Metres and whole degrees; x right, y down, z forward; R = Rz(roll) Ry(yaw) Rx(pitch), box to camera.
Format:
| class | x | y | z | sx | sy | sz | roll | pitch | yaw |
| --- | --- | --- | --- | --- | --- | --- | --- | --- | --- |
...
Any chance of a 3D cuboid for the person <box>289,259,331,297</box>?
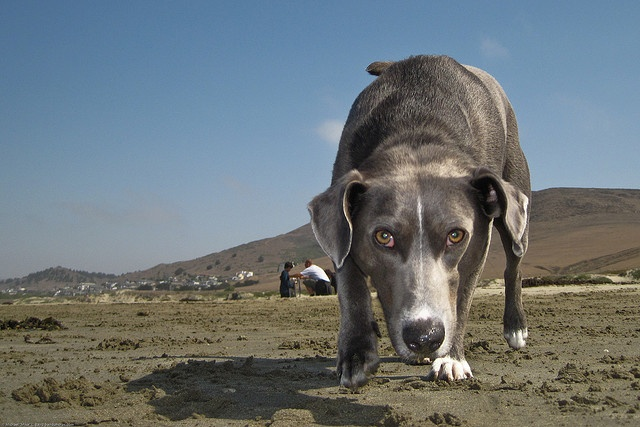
| class | x | y | z | sx | sy | sz | roll | pitch | yaw |
| --- | --- | --- | --- | --- | --- | --- | --- | --- | --- |
| person | -0.114 | 2.258 | 19.205 | 2.285 | 1.156 | 0.691 | -2 | 14 | -27 |
